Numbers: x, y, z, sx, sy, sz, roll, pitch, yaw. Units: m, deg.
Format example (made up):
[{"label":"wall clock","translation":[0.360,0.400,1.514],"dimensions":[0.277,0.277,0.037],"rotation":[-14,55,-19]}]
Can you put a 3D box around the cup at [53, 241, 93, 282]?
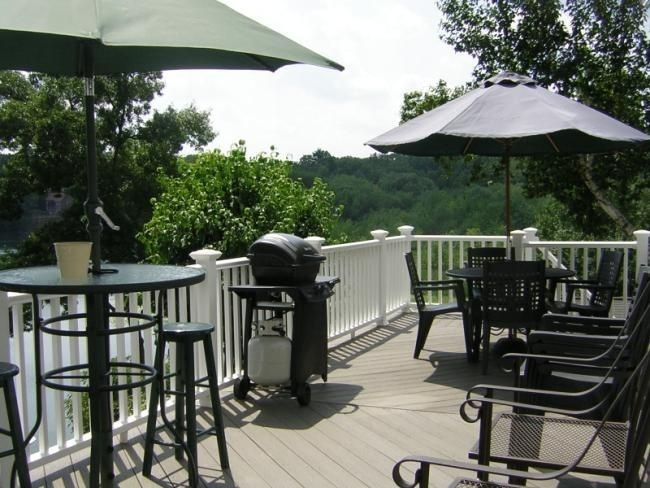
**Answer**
[{"label":"cup","translation":[-1.382,0.074,3.322],"dimensions":[0.187,0.228,0.206],"rotation":[11,17,18]}]

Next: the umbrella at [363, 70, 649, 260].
[{"label":"umbrella","translation":[1.835,-0.914,6.082],"dimensions":[2.354,1.685,2.293],"rotation":[-5,9,-32]}]
